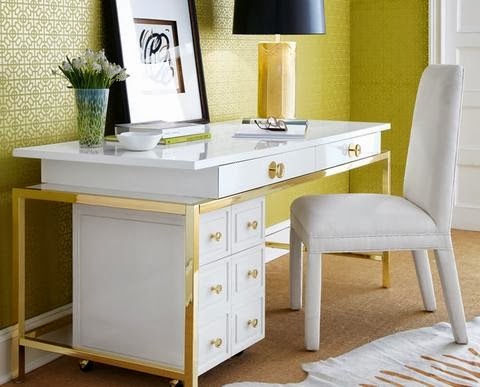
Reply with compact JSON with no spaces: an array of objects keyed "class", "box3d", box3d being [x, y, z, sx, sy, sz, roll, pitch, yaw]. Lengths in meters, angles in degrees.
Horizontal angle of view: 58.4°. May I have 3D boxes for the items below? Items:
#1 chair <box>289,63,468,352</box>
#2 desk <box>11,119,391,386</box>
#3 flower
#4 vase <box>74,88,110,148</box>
[{"class":"chair","box3d":[0.683,-0.032,2.336,0.963,1.623,0.913,0,4,-2]},{"class":"desk","box3d":[-0.156,0.209,1.440,0.376,0.428,0.918,3,6,30]},{"class":"flower","box3d":[-0.531,-0.295,1.348,0.184,0.281,0.239,5,16,24]},{"class":"vase","box3d":[-0.455,-0.245,1.378,0.118,0.190,0.122,0,9,-37]}]
